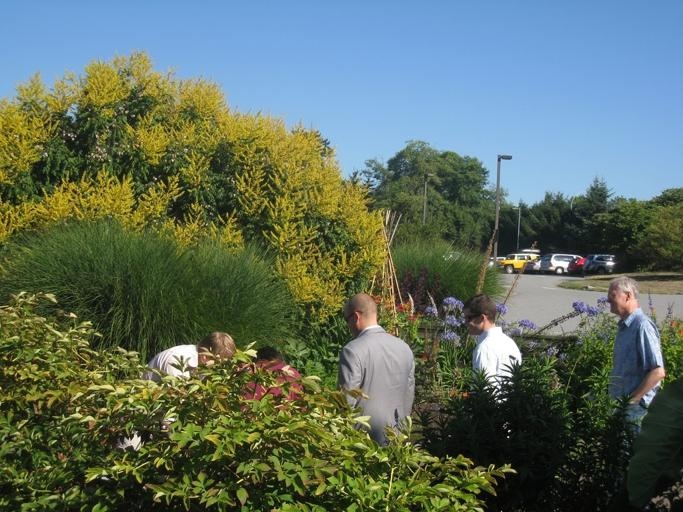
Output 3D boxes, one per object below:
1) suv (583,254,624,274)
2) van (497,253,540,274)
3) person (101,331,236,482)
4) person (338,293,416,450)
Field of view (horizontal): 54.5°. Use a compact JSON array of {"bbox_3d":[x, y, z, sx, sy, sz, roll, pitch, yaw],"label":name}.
[{"bbox_3d":[18.547,0.670,47.617,1.920,1.451,1.517,4,0,15],"label":"suv"},{"bbox_3d":[12.509,0.573,46.481,2.355,1.183,1.388,1,-4,-26],"label":"van"},{"bbox_3d":[-0.894,0.803,3.469,0.693,0.424,0.312,-31,27,15],"label":"person"},{"bbox_3d":[0.274,1.180,5.537,0.591,1.786,0.478,-4,21,-13],"label":"person"}]
